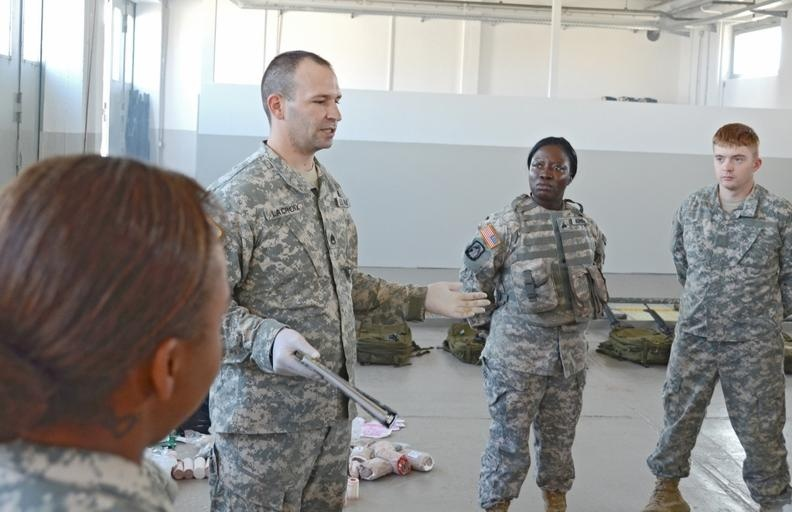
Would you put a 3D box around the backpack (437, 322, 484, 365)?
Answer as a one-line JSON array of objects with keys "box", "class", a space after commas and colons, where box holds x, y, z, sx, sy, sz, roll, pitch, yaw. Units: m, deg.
[{"box": [0.695, 0.858, 6.643, 0.451, 0.230, 0.579, -1, 8, -6], "class": "backpack"}]

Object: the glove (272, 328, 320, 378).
[{"box": [-0.311, 0.300, 2.002, 0.100, 0.090, 0.167, 18, -8, -19], "class": "glove"}]

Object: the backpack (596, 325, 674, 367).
[{"box": [2.384, 0.887, 6.585, 0.460, 0.187, 0.513, -1, 6, -20], "class": "backpack"}]
